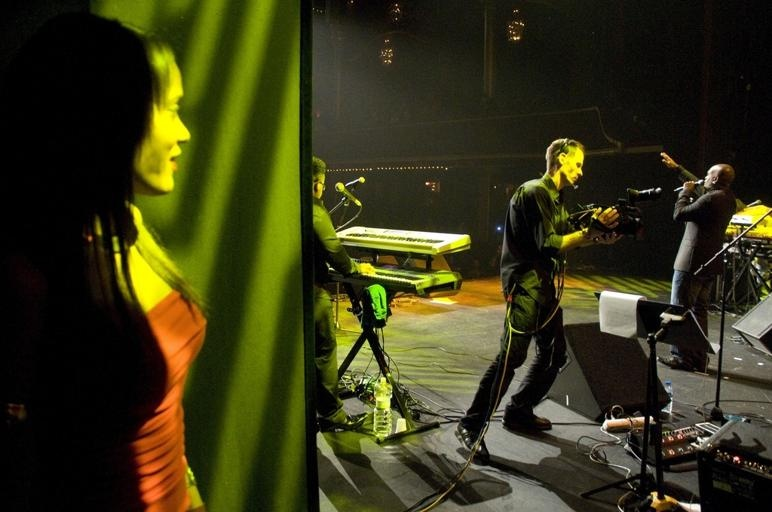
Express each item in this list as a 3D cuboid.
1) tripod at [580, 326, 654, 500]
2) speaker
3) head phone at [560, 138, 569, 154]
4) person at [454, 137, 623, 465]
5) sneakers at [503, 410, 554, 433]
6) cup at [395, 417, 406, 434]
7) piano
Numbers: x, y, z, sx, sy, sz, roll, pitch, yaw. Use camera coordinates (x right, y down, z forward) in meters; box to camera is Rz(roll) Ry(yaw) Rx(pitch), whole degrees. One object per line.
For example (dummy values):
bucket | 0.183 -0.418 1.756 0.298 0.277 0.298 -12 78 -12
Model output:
tripod | 1.423 0.921 3.643 0.376 0.995 0.462 4 10 24
speaker | 1.686 0.789 4.878 0.719 0.704 0.682 -12 11 -15
head phone | 1.191 -0.741 4.099 0.060 0.060 0.099 21 36 35
person | 0.954 0.268 4.040 0.944 2.042 0.900 3 10 18
sneakers | 1.019 1.178 4.380 0.317 0.143 0.140 -3 0 0
cup | 0.103 1.189 4.285 0.089 0.094 0.086 2 5 0
piano | 0.073 0.062 4.153 0.958 0.414 0.539 9 13 43
